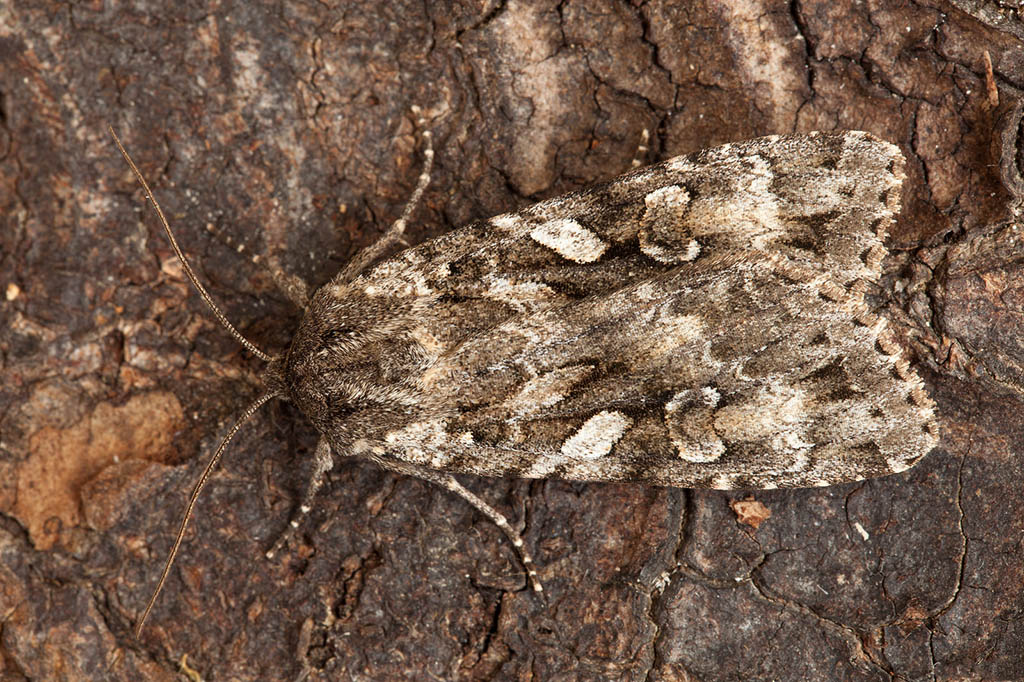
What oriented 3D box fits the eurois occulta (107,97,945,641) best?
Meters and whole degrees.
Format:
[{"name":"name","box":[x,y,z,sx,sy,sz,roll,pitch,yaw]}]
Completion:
[{"name":"eurois occulta","box":[0.828,-0.063,10.277,3.934,1.175,2.045,-5,66,2]}]
